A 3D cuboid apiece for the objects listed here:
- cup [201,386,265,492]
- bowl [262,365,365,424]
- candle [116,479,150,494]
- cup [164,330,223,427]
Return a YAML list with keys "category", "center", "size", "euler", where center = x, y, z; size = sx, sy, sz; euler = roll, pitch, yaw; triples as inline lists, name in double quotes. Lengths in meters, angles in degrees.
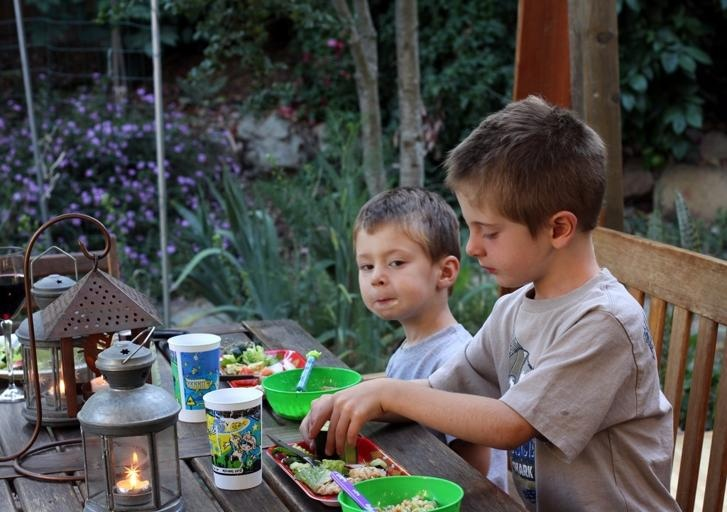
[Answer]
- category: "cup"
  center: [-0.277, 0.402, 1.560]
  size: [0.125, 0.201, 0.133]
  euler: [0, 3, 0]
- category: "bowl"
  center: [-0.110, 0.351, 1.802]
  size: [0.219, 0.092, 0.233]
  euler: [-3, 12, 1]
- category: "candle"
  center: [-0.462, 0.458, 1.413]
  size: [0.062, 0.032, 0.005]
  euler: [-4, 8, -6]
- category: "cup"
  center: [-0.423, 0.301, 1.796]
  size: [0.129, 0.216, 0.130]
  euler: [2, 11, 0]
